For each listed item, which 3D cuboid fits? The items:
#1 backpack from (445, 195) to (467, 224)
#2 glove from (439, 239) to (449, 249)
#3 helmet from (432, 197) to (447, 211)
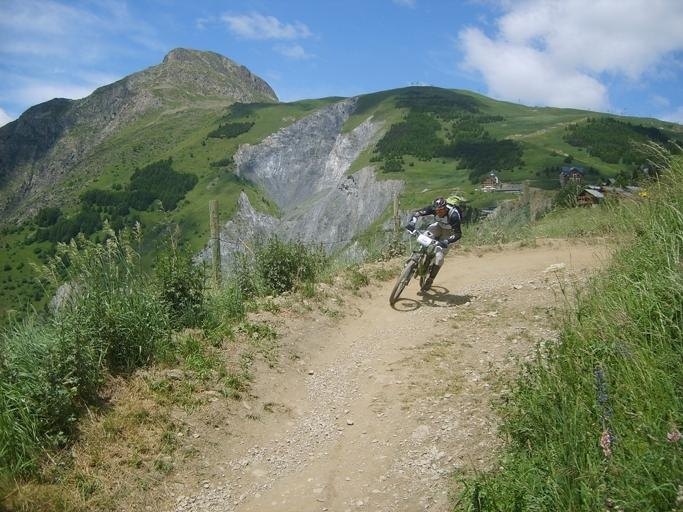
[{"bbox_3d":[3.331,-1.275,14.702,0.318,0.848,0.726,-1,15,-22],"label":"backpack"},{"bbox_3d":[2.640,-0.282,13.134,0.208,0.238,0.356,8,10,13],"label":"glove"},{"bbox_3d":[2.651,-1.421,13.903,0.267,0.309,0.359,1,6,41],"label":"helmet"}]
